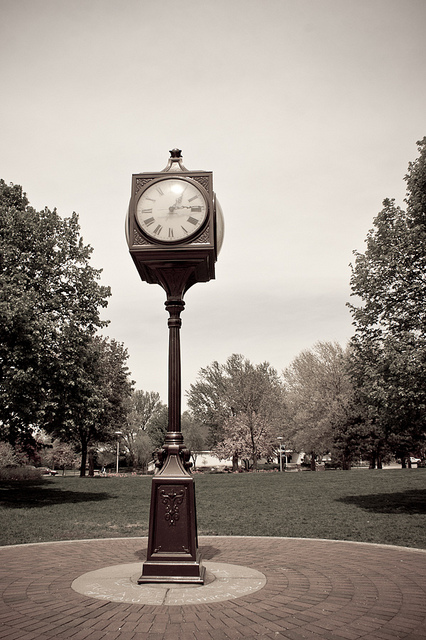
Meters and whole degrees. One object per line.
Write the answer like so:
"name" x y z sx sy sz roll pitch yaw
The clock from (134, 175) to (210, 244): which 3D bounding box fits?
"clock" -0.508 -1.337 8.466 0.921 0.884 0.122 -1 -24 3
